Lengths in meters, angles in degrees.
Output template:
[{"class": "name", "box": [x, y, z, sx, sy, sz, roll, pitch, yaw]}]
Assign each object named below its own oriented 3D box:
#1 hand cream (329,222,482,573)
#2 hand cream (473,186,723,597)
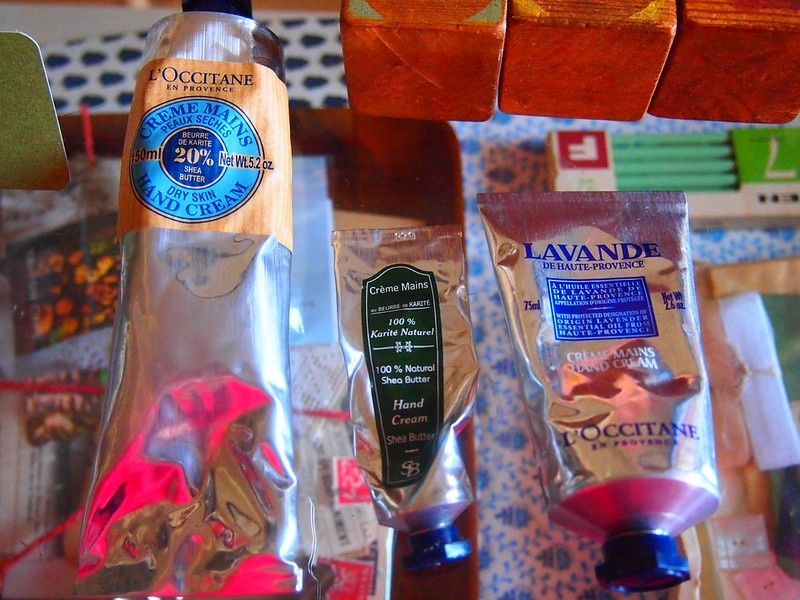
[{"class": "hand cream", "box": [0.009, 0.067, 0.550, 0.092, 0.061, 0.239, -6, 99, -1]}, {"class": "hand cream", "box": [0.155, 0.051, 0.542, 0.148, 0.080, 0.281, -10, 70, -3]}]
